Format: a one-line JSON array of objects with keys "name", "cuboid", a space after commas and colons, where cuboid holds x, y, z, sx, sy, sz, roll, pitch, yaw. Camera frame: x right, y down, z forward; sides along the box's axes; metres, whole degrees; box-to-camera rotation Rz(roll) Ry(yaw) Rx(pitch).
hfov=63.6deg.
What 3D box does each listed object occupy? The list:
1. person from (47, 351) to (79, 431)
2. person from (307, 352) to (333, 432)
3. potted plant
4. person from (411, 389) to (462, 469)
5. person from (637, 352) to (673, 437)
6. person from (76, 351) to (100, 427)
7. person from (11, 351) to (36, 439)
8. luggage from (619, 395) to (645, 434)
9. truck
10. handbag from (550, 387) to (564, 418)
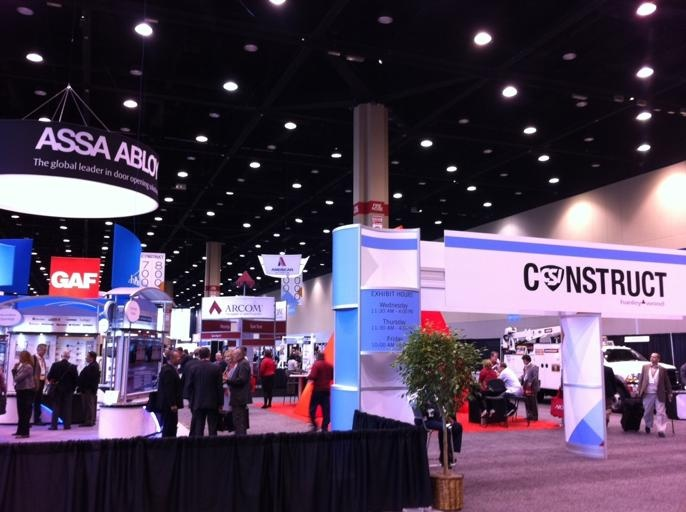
[{"name": "person", "cuboid": [-5.968, 2.884, 11.777, 0.572, 1.616, 0.577, 5, -11, -29]}, {"name": "person", "cuboid": [-0.442, 2.764, 11.115, 0.497, 1.600, 1.651, 1, -10, -3]}, {"name": "potted plant", "cuboid": [1.239, 2.040, 7.081, 1.043, 2.239, 0.712, -1, -9, 6]}, {"name": "person", "cuboid": [1.488, 2.702, 8.444, 0.526, 0.824, 0.464, 12, -24, -3]}, {"name": "person", "cuboid": [6.582, 2.927, 11.688, 0.581, 1.679, 0.557, -6, -11, 32]}, {"name": "person", "cuboid": [-5.611, 2.955, 12.215, 0.452, 1.610, 0.639, 4, -10, -24]}, {"name": "person", "cuboid": [-6.205, 2.706, 10.785, 0.342, 1.638, 0.355, 5, -10, -26]}, {"name": "luggage", "cuboid": [6.401, 3.524, 12.363, 0.440, 0.698, 0.459, 0, 4, 44]}, {"name": "truck", "cuboid": [7.160, 3.475, 15.816, 1.768, 2.002, 3.949, 7, -14, -24]}, {"name": "handbag", "cuboid": [5.040, 3.518, 13.005, 0.248, 0.741, 1.287, -3, -11, 20]}]
